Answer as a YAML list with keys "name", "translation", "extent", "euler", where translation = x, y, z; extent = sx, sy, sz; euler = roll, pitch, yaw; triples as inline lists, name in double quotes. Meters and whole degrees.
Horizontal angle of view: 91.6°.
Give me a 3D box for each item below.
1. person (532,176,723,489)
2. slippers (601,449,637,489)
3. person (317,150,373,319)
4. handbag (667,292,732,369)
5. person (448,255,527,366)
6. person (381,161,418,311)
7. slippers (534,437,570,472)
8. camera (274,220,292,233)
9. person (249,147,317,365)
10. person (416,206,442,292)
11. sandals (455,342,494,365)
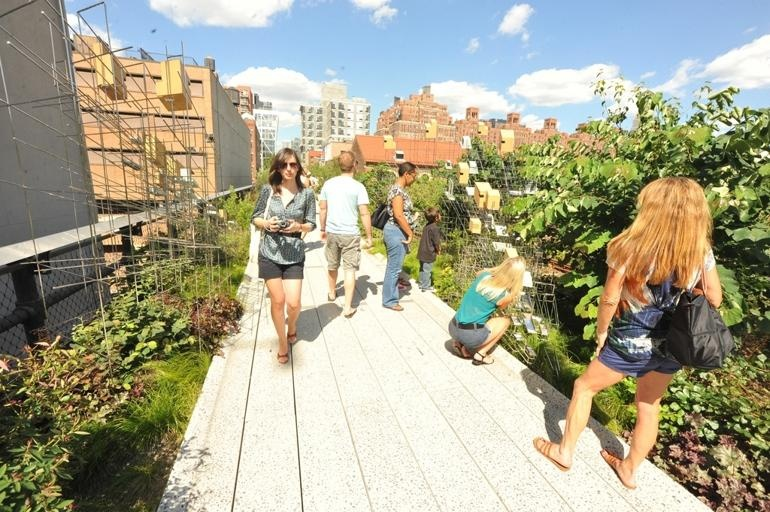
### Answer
- name: "person"
  translation: [2.180, 0.666, 3.432]
  extent: [0.949, 2.833, 0.881]
  euler: [5, 13, 13]
- name: "slippers"
  translation: [2.092, 1.873, 3.332]
  extent: [0.086, 0.143, 0.315]
  euler: [7, 30, -12]
- name: "person"
  translation: [-0.594, -0.358, 5.548]
  extent: [0.749, 2.320, 1.024]
  euler: [-1, 14, -5]
- name: "handbag"
  translation: [2.446, 0.575, 2.874]
  extent: [0.429, 0.501, 0.222]
  euler: [0, 14, 0]
- name: "person"
  translation: [1.295, 0.635, 4.557]
  extent: [0.824, 1.399, 0.547]
  euler: [-4, 25, -31]
- name: "person"
  translation: [0.184, -0.316, 5.750]
  extent: [0.445, 2.187, 0.723]
  euler: [5, 15, 20]
- name: "slippers"
  translation: [1.545, 1.795, 3.441]
  extent: [0.136, 0.091, 0.271]
  euler: [0, 35, -41]
- name: "camera"
  translation: [-1.116, -0.328, 4.115]
  extent: [0.096, 0.161, 0.052]
  euler: [1, 1, -4]
- name: "person"
  translation: [-1.163, -0.025, 4.392]
  extent: [0.566, 2.398, 0.721]
  euler: [13, 19, 42]
- name: "person"
  translation: [0.759, -0.095, 6.532]
  extent: [0.381, 1.425, 0.618]
  euler: [2, 14, 7]
- name: "sandals"
  translation: [1.084, 1.208, 4.555]
  extent: [0.167, 0.219, 0.505]
  euler: [24, -9, -36]
